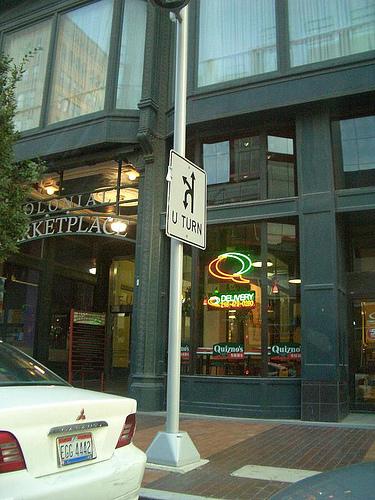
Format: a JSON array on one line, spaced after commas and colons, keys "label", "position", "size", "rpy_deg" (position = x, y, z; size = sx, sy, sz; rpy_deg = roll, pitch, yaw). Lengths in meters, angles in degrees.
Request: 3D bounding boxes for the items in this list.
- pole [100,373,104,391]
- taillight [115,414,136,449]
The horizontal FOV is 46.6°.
[{"label": "pole", "position": [-2.072, 3.186, 10.588], "size": [0.039, 0.404, 0.380], "rpy_deg": [4, -12, -16]}, {"label": "taillight", "position": [-0.393, 1.154, 2.787], "size": [0.059, 0.145, 0.109], "rpy_deg": [9, -12, -22]}]
